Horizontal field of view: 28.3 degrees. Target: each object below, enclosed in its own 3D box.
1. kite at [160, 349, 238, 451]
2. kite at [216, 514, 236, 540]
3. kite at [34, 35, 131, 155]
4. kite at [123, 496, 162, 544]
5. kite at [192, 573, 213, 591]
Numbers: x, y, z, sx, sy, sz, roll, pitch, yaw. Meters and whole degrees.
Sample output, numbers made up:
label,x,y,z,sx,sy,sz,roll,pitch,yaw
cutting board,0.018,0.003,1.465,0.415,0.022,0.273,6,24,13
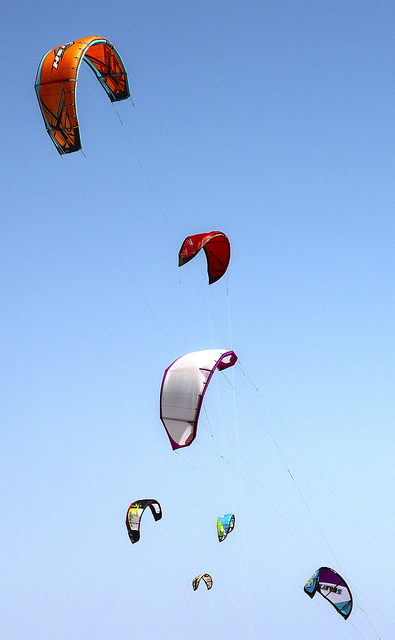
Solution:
label,x,y,z,sx,sy,sz,roll,pitch,yaw
kite,-0.066,1.320,14.143,0.671,1.640,2.304,2,-104,30
kite,0.610,4.437,16.951,0.378,0.306,0.706,-14,-70,-3
kite,-1.860,-3.955,13.011,0.541,1.876,1.580,7,-63,24
kite,-1.195,4.250,16.734,0.457,0.883,0.930,-2,-98,32
kite,0.112,5.691,16.831,0.410,0.428,0.384,3,-70,-9
